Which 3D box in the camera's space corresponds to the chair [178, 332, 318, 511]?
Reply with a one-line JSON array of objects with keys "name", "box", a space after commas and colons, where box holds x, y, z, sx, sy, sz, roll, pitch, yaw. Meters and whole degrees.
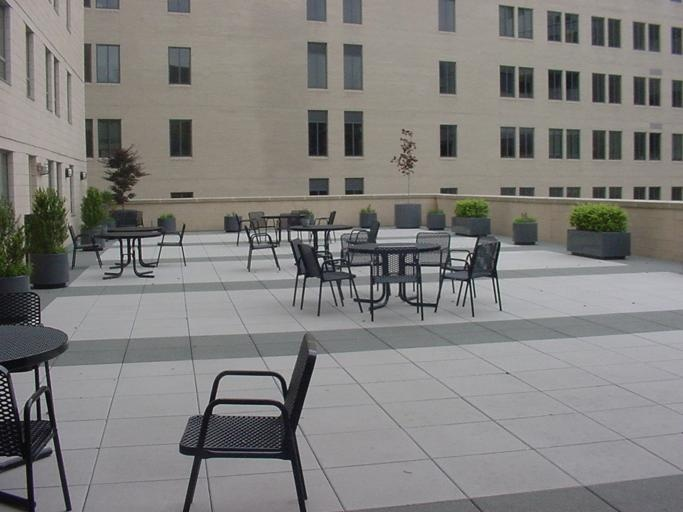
[{"name": "chair", "box": [-0.537, 0.947, 3.607, 0.962, 1.297, 0.865, 3, -1, -8]}]

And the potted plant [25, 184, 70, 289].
[{"name": "potted plant", "box": [-5.983, -0.385, 11.278, 0.782, 2.014, 0.874, -4, 6, -30]}]

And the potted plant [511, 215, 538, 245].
[{"name": "potted plant", "box": [6.122, -0.923, 18.915, 0.844, 1.061, 0.874, -2, 4, -15]}]
